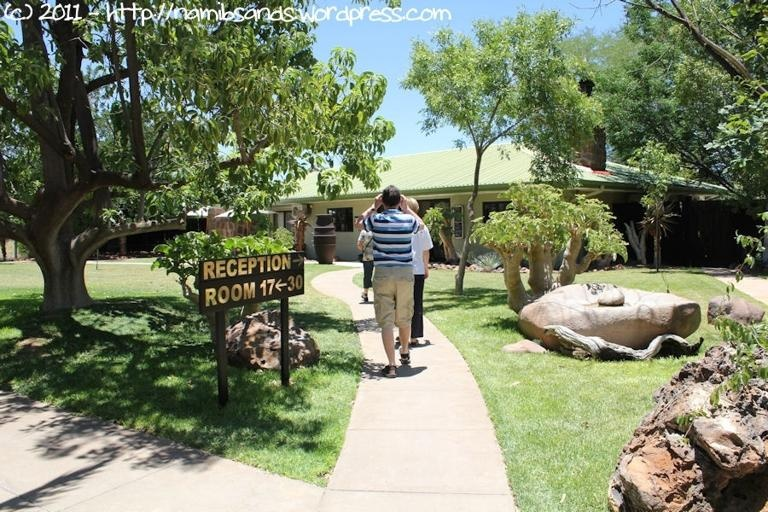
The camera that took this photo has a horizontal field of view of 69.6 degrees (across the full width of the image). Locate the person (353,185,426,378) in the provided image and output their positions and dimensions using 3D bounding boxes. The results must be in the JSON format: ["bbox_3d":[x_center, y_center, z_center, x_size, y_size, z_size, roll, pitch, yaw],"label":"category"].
[{"bbox_3d":[0.131,0.320,7.026,0.594,2.394,0.497,-4,11,-21],"label":"person"}]

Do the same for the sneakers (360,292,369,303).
[{"bbox_3d":[-0.438,0.953,12.566,0.185,0.223,0.545,-1,-3,-2],"label":"sneakers"}]

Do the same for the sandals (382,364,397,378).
[{"bbox_3d":[0.072,1.476,7.060,0.148,0.123,0.322,1,1,0],"label":"sandals"}]

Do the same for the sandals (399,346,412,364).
[{"bbox_3d":[0.284,1.351,7.507,0.172,0.160,0.502,-2,7,0],"label":"sandals"}]
